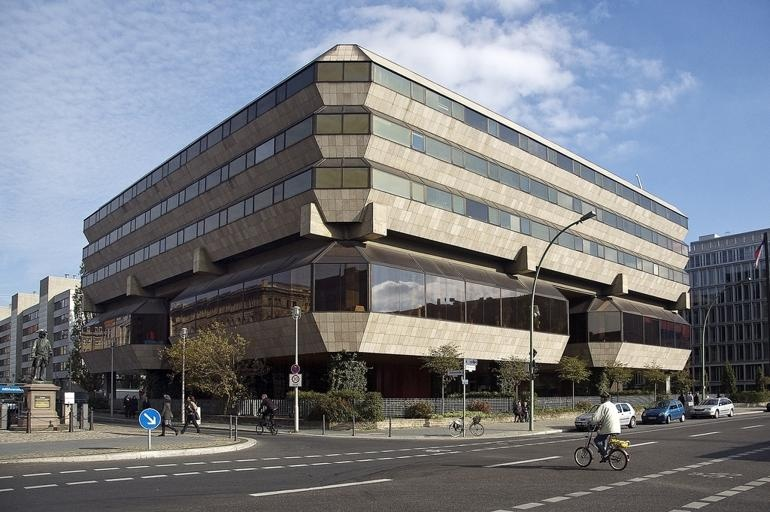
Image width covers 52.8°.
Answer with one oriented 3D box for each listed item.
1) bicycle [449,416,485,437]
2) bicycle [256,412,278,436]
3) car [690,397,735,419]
[{"bbox_3d":[5.531,11.205,50.940,2.594,1.500,1.279,-1,-6,-6],"label":"bicycle"},{"bbox_3d":[-7.899,11.186,52.002,1.066,1.264,2.091,11,-15,-38],"label":"bicycle"},{"bbox_3d":[29.031,13.409,68.770,4.113,1.615,2.065,1,-6,-37],"label":"car"}]
